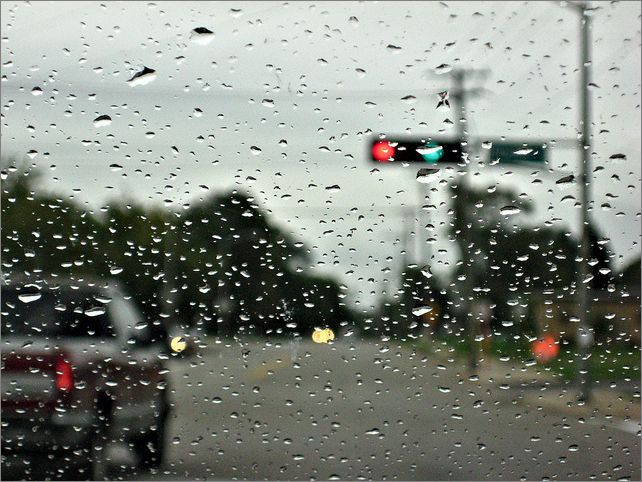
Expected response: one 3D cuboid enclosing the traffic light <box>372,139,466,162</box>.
[{"bbox_3d":[0.657,-0.612,8.567,0.642,0.200,0.424,5,6,8],"label":"traffic light"}]
